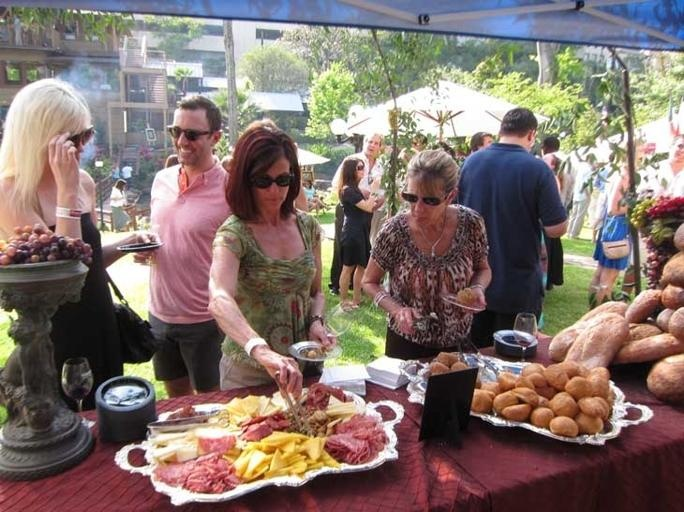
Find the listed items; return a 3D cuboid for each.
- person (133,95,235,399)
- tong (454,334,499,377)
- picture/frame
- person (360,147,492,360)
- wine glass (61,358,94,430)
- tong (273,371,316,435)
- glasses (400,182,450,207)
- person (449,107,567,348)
[{"bbox_3d":[-1.046,-0.015,3.786,0.703,2.153,0.683,-6,18,-27],"label":"person"},{"bbox_3d":[0.779,0.544,2.966,0.196,0.215,0.195,-9,16,-32],"label":"tong"},{"bbox_3d":[0.528,0.753,2.536,0.328,0.452,0.030,2,7,-29],"label":"picture/frame"},{"bbox_3d":[0.583,0.429,3.544,0.829,2.124,0.841,-1,13,4],"label":"person"},{"bbox_3d":[-1.236,0.611,2.516,0.170,0.346,0.175,-12,20,-44],"label":"wine glass"},{"bbox_3d":[-0.227,0.729,2.508,0.200,0.282,0.246,-5,14,-30],"label":"tong"},{"bbox_3d":[0.520,-0.384,3.308,0.283,0.112,0.187,3,13,15],"label":"glasses"},{"bbox_3d":[1.456,-0.207,4.609,0.717,2.007,0.859,3,4,33],"label":"person"}]
